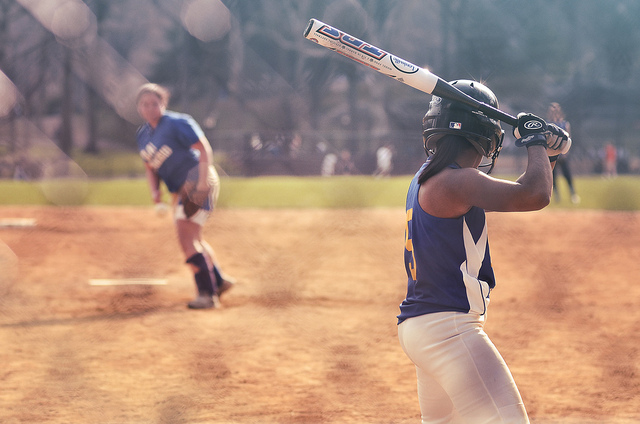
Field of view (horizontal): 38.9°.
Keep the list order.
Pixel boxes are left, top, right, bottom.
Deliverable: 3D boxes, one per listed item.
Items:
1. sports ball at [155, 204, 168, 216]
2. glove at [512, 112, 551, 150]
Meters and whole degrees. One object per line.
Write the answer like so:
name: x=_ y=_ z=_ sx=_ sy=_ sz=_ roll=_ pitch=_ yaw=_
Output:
sports ball: x=-2.985 y=-0.039 z=17.024 sx=0.221 sy=0.201 sz=0.217 roll=2 pitch=-7 yaw=0
glove: x=3.400 y=-1.300 z=14.546 sx=0.592 sy=0.539 sz=0.346 roll=2 pitch=12 yaw=11
